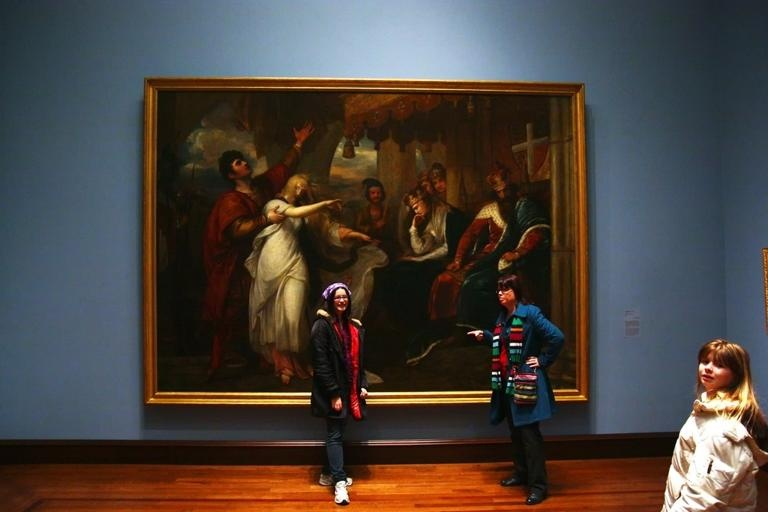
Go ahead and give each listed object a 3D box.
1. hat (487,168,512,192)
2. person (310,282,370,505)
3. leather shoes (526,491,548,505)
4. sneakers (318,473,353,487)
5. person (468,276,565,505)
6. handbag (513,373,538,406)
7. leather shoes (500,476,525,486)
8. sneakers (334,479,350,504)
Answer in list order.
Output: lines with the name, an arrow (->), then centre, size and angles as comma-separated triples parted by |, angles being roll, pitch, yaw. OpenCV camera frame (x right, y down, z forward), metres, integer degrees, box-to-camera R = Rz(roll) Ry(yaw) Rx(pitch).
hat -> 1.613, -1.083, 10.751 | 0.270, 0.321, 0.360 | -14, 4, 29
person -> -0.519, 1.719, 9.958 | 0.692, 2.713, 0.522 | -5, 4, -40
leather shoes -> 1.922, 3.028, 9.666 | 0.291, 0.113, 0.107 | 1, -1, -23
sneakers -> -0.637, 2.910, 10.050 | 0.488, 0.212, 0.162 | 2, 30, -5
person -> 1.807, 1.674, 9.830 | 0.841, 2.825, 0.493 | 0, 4, 38
handbag -> 1.804, 1.676, 9.719 | 0.390, 0.528, 0.284 | 0, -3, 3
leather shoes -> 1.683, 2.931, 10.068 | 0.312, 0.123, 0.115 | 3, 2, -1
sneakers -> -0.532, 2.964, 9.793 | 0.194, 0.257, 0.341 | -3, 3, -4
